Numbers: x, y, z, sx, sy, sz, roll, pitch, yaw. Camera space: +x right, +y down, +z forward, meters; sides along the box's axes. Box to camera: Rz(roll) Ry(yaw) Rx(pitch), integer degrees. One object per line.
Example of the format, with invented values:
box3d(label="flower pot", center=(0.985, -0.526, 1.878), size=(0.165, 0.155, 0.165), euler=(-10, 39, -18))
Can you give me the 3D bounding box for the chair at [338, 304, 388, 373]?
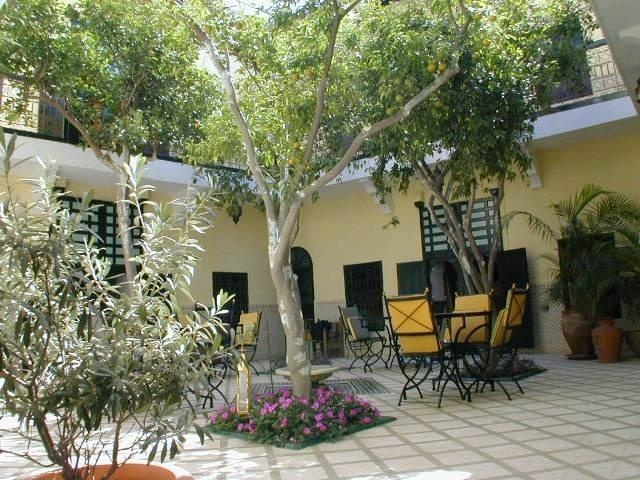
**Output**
box3d(label="chair", center=(0.949, 2.093, 10.121), size=(0.846, 1.227, 0.771), euler=(-4, -7, 31))
